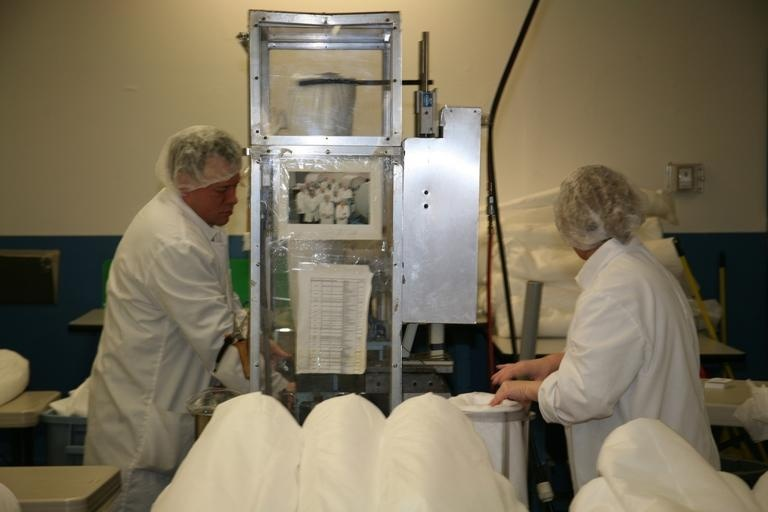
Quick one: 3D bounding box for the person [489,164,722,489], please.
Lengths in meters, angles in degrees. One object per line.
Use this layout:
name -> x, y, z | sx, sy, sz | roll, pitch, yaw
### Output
person -> 1.099, 0.640, 3.850 | 1.081, 2.162, 0.902 | -3, 7, -3
